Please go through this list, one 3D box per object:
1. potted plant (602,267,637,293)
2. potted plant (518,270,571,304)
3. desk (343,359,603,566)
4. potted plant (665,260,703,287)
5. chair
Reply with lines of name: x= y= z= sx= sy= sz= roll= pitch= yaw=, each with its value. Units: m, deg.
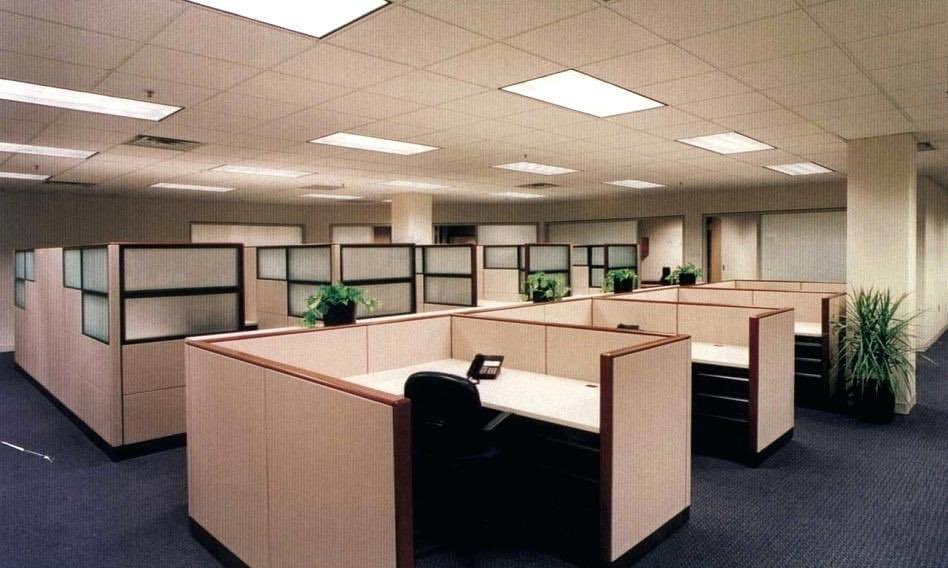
potted plant: x=2.132 y=-0.043 z=9.092 sx=0.434 sy=0.383 sz=0.445 roll=-1 pitch=-1 yaw=41
potted plant: x=0.938 y=0.045 z=7.833 sx=0.488 sy=0.382 sz=0.713 roll=0 pitch=4 yaw=-6
desk: x=0.377 y=1.019 z=5.911 sx=2.971 sy=1.923 sz=1.536 roll=3 pitch=8 yaw=33
potted plant: x=3.427 y=-0.142 z=9.728 sx=0.624 sy=0.454 sz=0.623 roll=-2 pitch=1 yaw=-1
chair: x=-0.165 y=1.582 z=5.449 sx=0.871 sy=1.726 sz=0.666 roll=0 pitch=4 yaw=-7
